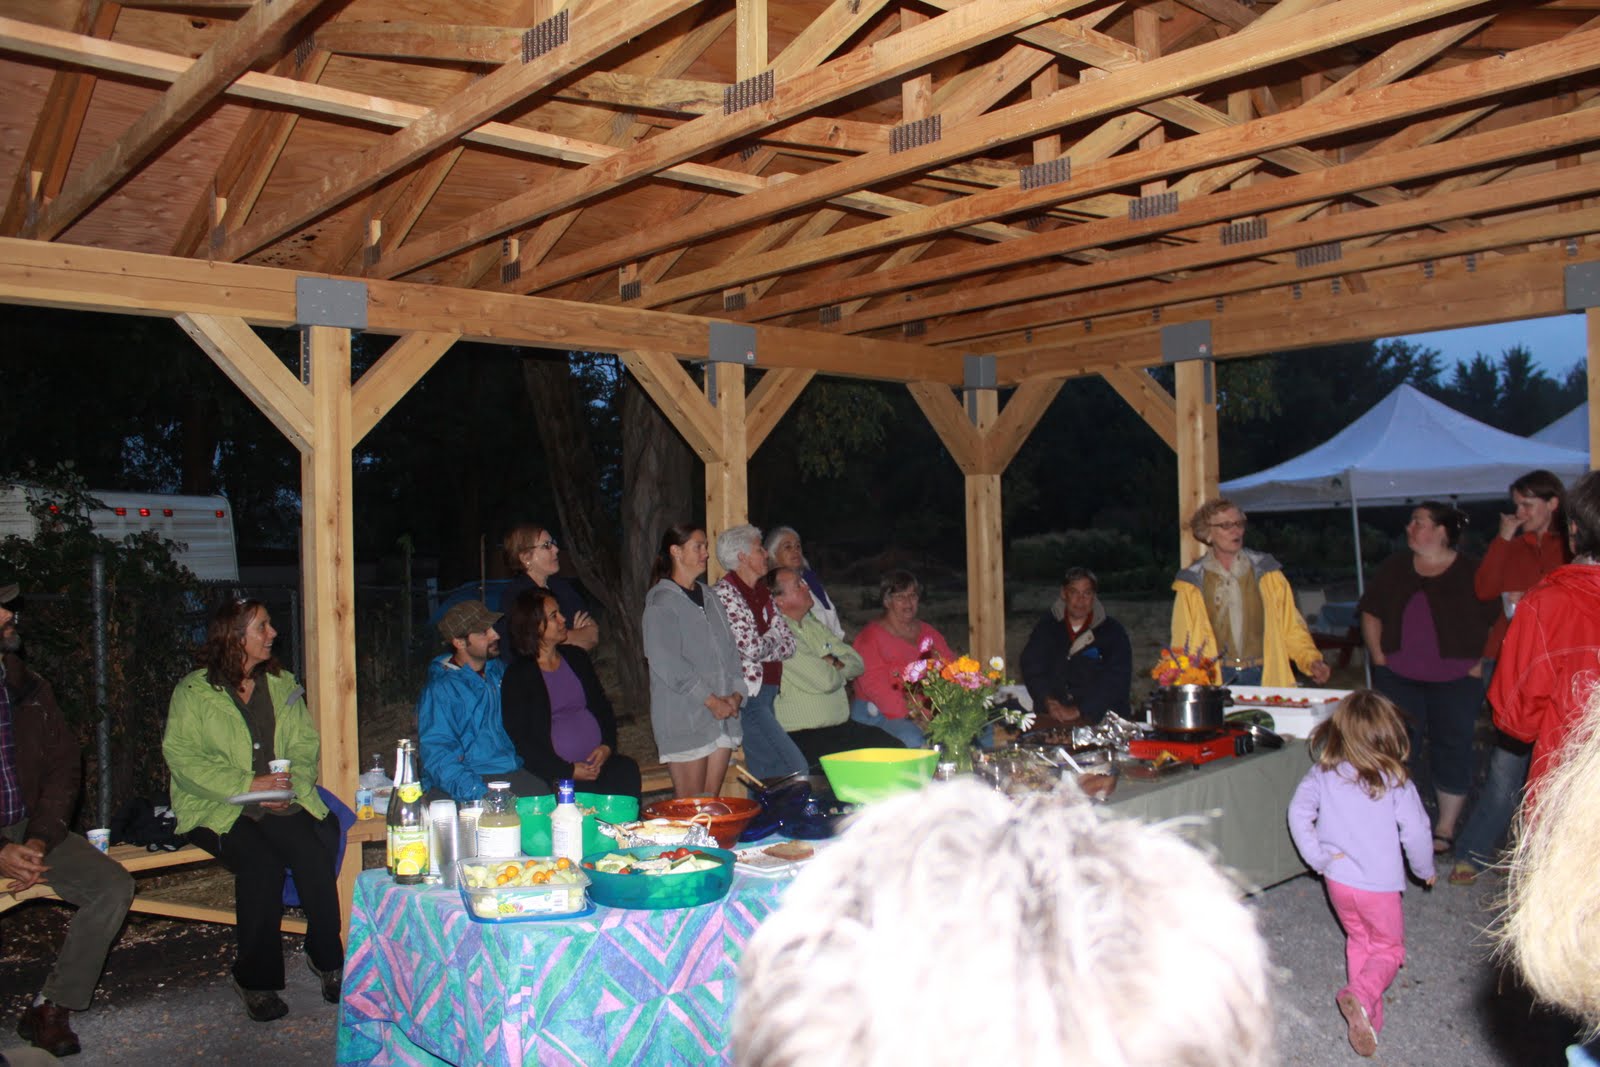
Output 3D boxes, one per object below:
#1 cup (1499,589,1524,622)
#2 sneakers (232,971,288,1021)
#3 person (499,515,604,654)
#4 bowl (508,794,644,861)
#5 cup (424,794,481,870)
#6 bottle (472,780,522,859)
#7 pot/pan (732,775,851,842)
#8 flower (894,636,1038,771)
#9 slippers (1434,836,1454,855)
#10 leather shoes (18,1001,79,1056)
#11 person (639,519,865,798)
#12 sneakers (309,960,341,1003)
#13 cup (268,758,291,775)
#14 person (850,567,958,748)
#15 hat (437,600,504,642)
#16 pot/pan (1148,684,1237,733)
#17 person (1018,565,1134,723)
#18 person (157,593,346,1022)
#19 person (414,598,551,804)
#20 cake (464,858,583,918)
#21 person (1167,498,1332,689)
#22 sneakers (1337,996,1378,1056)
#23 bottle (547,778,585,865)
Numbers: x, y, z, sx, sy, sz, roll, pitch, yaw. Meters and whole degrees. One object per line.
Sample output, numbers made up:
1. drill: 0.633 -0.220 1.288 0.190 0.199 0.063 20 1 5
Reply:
1. cup: 3.826 0.382 7.240 0.148 0.203 0.064 12 -19 -30
2. sneakers: -2.595 2.214 6.447 0.304 0.136 0.125 0 -3 40
3. person: -1.423 0.359 7.652 0.579 0.883 0.598 -6 16 -24
4. bowl: -0.945 1.186 5.307 0.396 0.187 0.314 7 -11 9
5. cup: -1.309 1.123 5.092 0.230 0.392 0.239 0 -2 0
6. bottle: -1.143 1.103 5.141 0.225 0.300 0.231 0 4 0
7. pot/pan: -0.011 1.155 5.568 0.507 0.211 0.514 -4 1 -26
8. flower: 0.726 0.802 6.217 0.606 0.538 0.510 5 -4 22
9. slippers: 3.781 1.837 7.902 0.087 0.106 0.265 -3 7 20
10. leather shoes: -3.416 2.241 6.132 0.241 0.226 0.299 1 -5 -31
11. person: -0.364 0.708 7.695 1.102 1.522 0.524 1 -4 -35
12. sneakers: -2.296 2.193 6.551 0.142 0.164 0.079 -3 -4 14
13. cup: -2.579 1.155 6.671 0.076 0.052 0.078 1 -10 0
14. person: 0.678 0.737 8.103 0.709 1.008 0.672 14 26 38
15. hat: -1.688 0.433 6.865 0.235 0.121 0.182 -14 2 -9
16. pot/pan: 2.006 0.900 6.969 0.297 0.199 0.243 -2 -6 16
17. person: 1.672 0.687 8.205 0.622 0.903 0.249 -2 -4 7
18. person: -2.676 1.317 6.604 0.783 1.987 0.498 0 -4 -27
19. person: -1.626 0.814 6.785 0.582 0.965 0.462 0 -4 -25
20. cake: -0.996 1.276 4.879 0.432 0.182 0.363 -1 -4 -16
21. person: 2.571 0.343 7.849 0.808 1.089 0.448 -2 -4 7
22. sneakers: 2.473 2.184 6.006 0.119 0.266 0.113 -31 -35 25
23. bottle: -0.888 1.145 5.173 0.170 0.369 0.173 1 8 0
